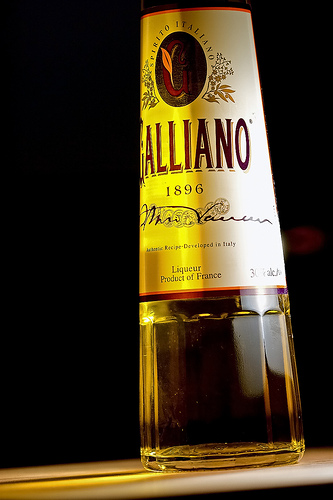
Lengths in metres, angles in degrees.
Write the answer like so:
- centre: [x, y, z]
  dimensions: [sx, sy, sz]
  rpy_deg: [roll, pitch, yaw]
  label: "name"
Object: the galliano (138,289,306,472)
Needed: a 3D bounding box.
- centre: [0.037, 0.085, 0.330]
  dimensions: [0.107, 0.120, 0.102]
  rpy_deg: [3, -13, -24]
  label: "galliano"
